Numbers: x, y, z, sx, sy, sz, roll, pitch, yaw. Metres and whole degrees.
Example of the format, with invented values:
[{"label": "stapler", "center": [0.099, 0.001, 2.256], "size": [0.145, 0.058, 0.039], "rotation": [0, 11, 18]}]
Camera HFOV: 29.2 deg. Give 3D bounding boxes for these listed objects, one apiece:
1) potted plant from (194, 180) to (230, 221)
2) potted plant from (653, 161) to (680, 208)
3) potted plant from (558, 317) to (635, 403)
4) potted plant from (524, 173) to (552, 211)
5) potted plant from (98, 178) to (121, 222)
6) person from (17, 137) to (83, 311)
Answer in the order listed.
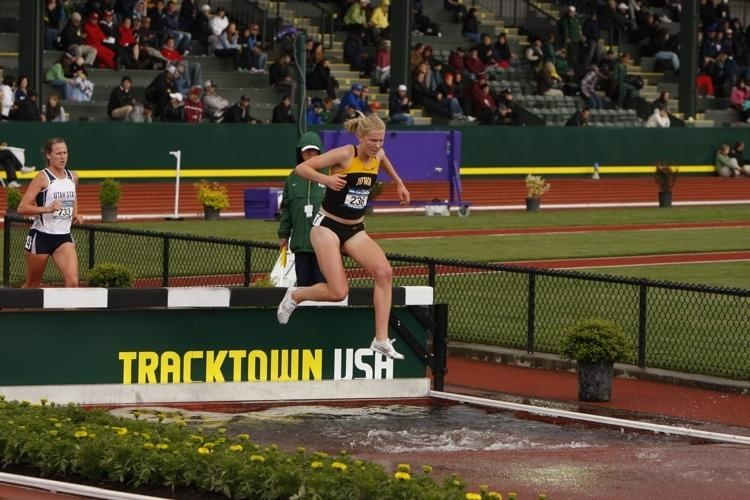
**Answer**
[{"label": "potted plant", "center": [-4.026, -1.196, 35.293], "size": [1.029, 1.056, 0.937], "rotation": [1, -1, -13]}, {"label": "potted plant", "center": [8.502, -1.901, 42.263], "size": [0.631, 1.222, 1.412], "rotation": [4, 10, 11]}, {"label": "potted plant", "center": [2.983, 1.487, 19.522], "size": [0.935, 1.016, 0.988], "rotation": [9, -15, -25]}, {"label": "potted plant", "center": [4.422, -1.548, 39.962], "size": [0.757, 1.061, 0.571], "rotation": [6, -5, 33]}, {"label": "potted plant", "center": [-6.319, -1.190, 34.153], "size": [0.483, 0.972, 0.719], "rotation": [0, 10, -10]}, {"label": "person", "center": [-4.809, -0.504, 21.131], "size": [0.831, 2.238, 0.786], "rotation": [0, 10, -11]}]
